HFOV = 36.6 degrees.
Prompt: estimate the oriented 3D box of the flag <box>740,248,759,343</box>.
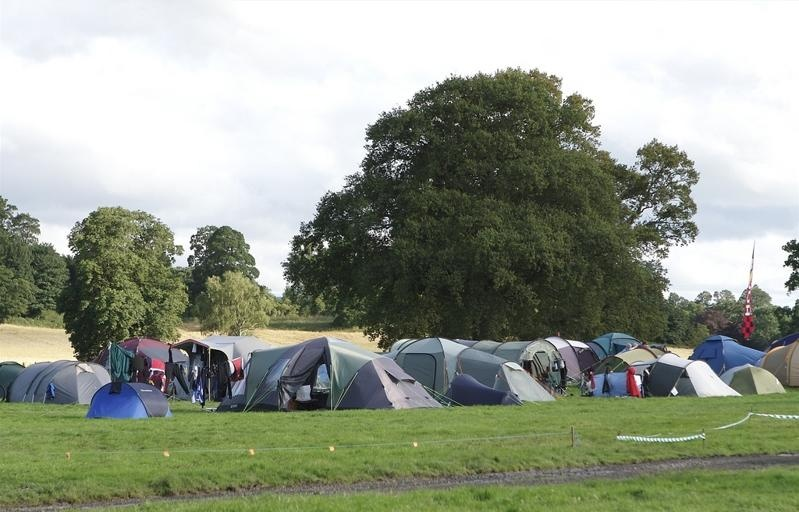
[{"bbox_3d":[33.665,3.493,115.788,0.966,6.599,0.908,2,1,-34],"label":"flag"}]
